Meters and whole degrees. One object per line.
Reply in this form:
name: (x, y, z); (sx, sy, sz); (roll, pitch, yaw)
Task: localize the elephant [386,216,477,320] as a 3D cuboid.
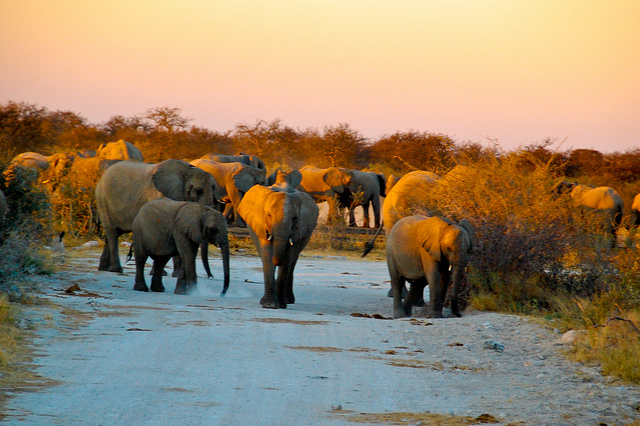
elephant: (1.919, 0.998, 12.343); (1.205, 1.605, 2.294); (6, -5, -21)

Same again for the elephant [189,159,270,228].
elephant: (-3.376, -0.783, 26.540); (4.497, 2.150, 1.993); (6, 12, 25)

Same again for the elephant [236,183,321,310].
elephant: (-0.815, 0.670, 12.761); (1.390, 2.184, 1.484); (4, 10, -4)

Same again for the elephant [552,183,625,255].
elephant: (7.242, -0.049, 19.385); (1.398, 1.394, 2.679); (-8, 12, -24)

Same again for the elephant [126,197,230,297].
elephant: (-2.693, 0.648, 13.491); (1.845, 1.656, 1.016); (3, 10, -5)
